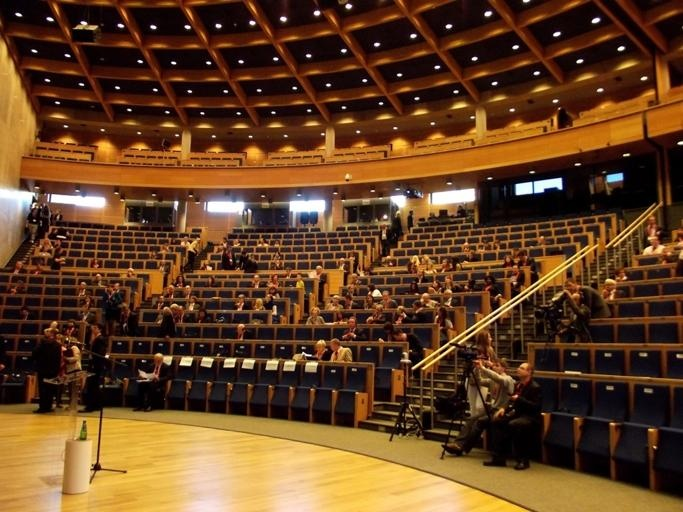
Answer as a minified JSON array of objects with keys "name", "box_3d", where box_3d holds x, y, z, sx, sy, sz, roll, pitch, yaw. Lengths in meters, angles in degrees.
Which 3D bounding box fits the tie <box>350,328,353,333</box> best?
[{"name":"tie","box_3d":[0.187,1.411,10.344,0.055,0.074,0.018,-3,-12,1]}]

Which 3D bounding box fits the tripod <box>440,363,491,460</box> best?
[{"name":"tripod","box_3d":[1.675,2.032,7.331,0.598,1.207,0.964,0,-10,14]}]

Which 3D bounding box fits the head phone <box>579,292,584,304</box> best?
[{"name":"head phone","box_3d":[3.810,0.668,8.635,0.038,0.123,0.097,2,-13,-5]}]

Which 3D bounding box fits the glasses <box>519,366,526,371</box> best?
[{"name":"glasses","box_3d":[2.331,1.445,6.979,0.049,0.037,0.064,-1,5,26]}]

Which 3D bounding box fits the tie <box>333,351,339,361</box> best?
[{"name":"tie","box_3d":[-0.106,1.780,9.641,0.098,0.137,0.050,-7,-17,35]}]

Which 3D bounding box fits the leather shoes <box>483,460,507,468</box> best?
[{"name":"leather shoes","box_3d":[1.866,2.530,6.633,0.251,0.113,0.097,1,-13,10]}]

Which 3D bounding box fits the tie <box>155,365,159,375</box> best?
[{"name":"tie","box_3d":[-3.540,2.185,10.382,0.095,0.134,0.037,-1,-12,23]}]

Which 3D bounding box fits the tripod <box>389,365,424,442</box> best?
[{"name":"tripod","box_3d":[0.988,2.145,8.238,0.482,1.109,1.654,2,-10,6]}]

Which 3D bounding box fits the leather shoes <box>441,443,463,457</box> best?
[{"name":"leather shoes","box_3d":[1.436,2.489,7.033,0.278,0.111,0.146,15,-13,-6]}]

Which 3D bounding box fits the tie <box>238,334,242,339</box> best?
[{"name":"tie","box_3d":[-2.109,1.660,11.252,0.084,0.081,0.021,0,-16,-5]}]

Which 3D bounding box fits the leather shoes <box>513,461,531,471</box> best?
[{"name":"leather shoes","box_3d":[2.165,2.507,6.544,0.182,0.091,0.244,-1,-10,20]}]

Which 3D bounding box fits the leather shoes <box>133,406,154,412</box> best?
[{"name":"leather shoes","box_3d":[-3.666,2.819,10.029,0.347,0.147,0.108,-8,-14,15]}]
